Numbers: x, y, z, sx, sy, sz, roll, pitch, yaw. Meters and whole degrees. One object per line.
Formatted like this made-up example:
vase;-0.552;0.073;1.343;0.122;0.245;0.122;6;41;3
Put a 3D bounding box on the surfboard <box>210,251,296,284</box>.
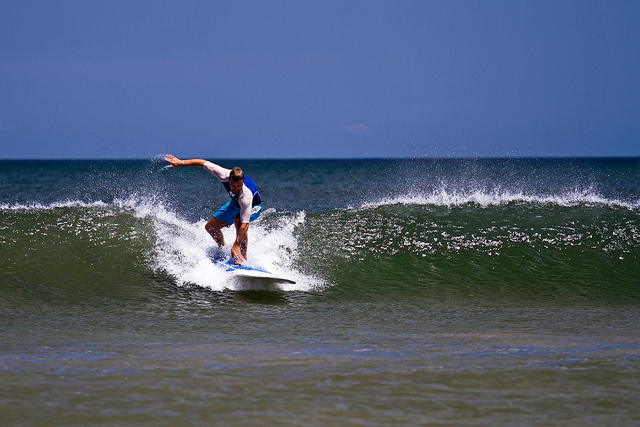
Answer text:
surfboard;-1.617;1.195;21.376;2.046;0.619;0.634;3;2;29
